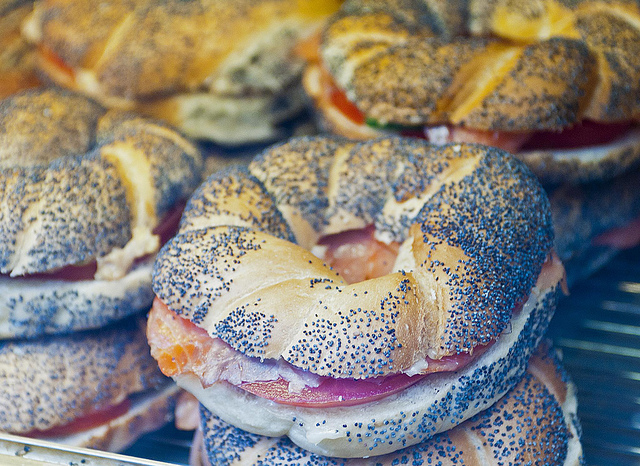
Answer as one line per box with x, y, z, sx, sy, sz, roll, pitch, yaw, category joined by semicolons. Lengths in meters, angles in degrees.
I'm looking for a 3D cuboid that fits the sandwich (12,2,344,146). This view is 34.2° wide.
-0.324;-0.442;2.674;0.443;0.501;0.162;14;-61;29;sandwich
